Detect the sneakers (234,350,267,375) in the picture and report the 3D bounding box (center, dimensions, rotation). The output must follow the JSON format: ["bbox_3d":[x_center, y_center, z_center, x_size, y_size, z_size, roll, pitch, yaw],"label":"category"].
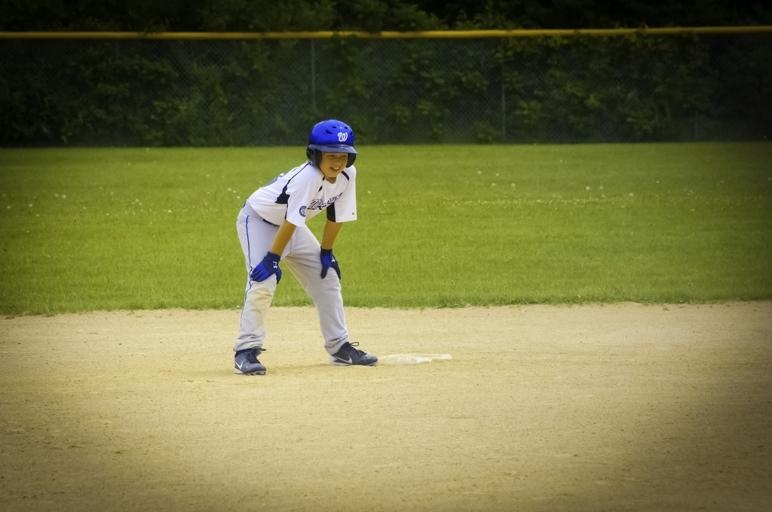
[{"bbox_3d":[-1.505,1.181,12.379,0.355,0.273,0.189,1,13,-6],"label":"sneakers"}]

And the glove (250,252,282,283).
[{"bbox_3d":[-1.350,0.126,12.416,0.292,0.355,0.105,38,0,-20],"label":"glove"}]

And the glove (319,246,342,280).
[{"bbox_3d":[-0.678,0.074,12.700,0.237,0.326,0.109,-5,6,-18],"label":"glove"}]

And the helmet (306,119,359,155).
[{"bbox_3d":[-0.592,-1.330,12.434,0.526,0.313,0.681,1,12,-25],"label":"helmet"}]
